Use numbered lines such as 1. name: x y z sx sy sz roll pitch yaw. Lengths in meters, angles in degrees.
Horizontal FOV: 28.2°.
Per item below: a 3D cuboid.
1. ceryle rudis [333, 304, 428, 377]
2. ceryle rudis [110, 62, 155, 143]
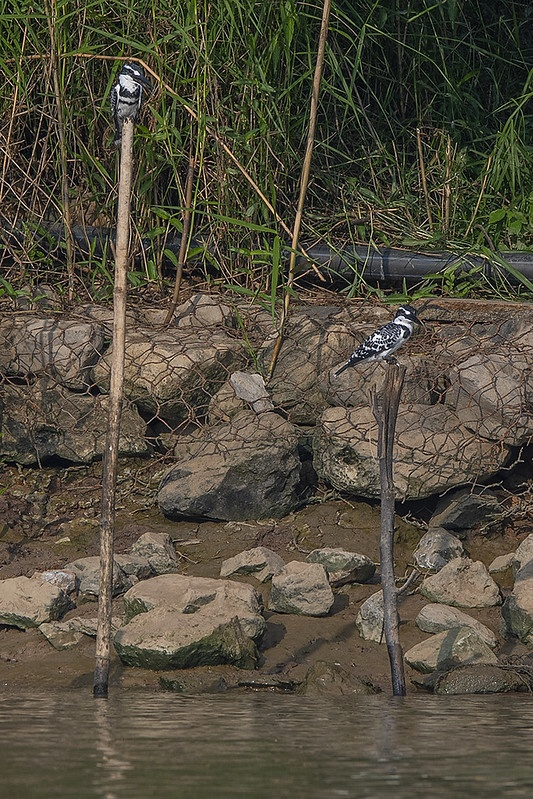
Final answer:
1. ceryle rudis: 0.484 -0.239 4.403 0.279 0.327 0.165 5 35 5
2. ceryle rudis: -0.502 -1.094 3.986 0.145 0.314 0.212 -3 34 -8
